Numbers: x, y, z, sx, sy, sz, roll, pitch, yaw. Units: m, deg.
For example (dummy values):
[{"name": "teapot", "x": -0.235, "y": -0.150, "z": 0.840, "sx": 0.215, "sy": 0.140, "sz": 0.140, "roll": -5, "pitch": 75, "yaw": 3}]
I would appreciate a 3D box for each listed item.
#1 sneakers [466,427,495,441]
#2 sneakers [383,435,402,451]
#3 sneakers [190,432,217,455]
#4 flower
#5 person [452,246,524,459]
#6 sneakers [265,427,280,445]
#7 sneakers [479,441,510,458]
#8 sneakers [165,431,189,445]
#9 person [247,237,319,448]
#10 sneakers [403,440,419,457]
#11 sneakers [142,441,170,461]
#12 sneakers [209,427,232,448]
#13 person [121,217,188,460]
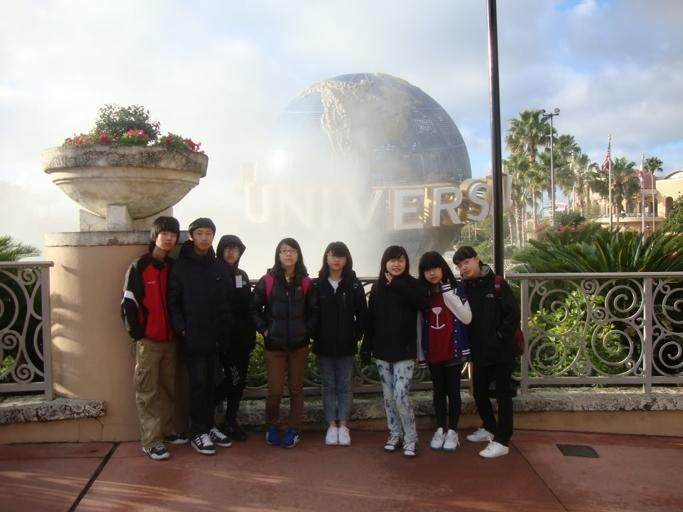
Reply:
[{"name": "sneakers", "x": 1.303, "y": 1.683, "z": 5.755, "sx": 0.227, "sy": 0.115, "sz": 0.111, "roll": 1, "pitch": -1, "yaw": -4}, {"name": "sneakers", "x": 0.464, "y": 1.718, "z": 5.560, "sx": 0.159, "sy": 0.107, "sz": 0.130, "roll": 1, "pitch": 14, "yaw": 3}, {"name": "sneakers", "x": -1.236, "y": 1.681, "z": 5.430, "sx": 0.105, "sy": 0.132, "sz": 0.262, "roll": 5, "pitch": -4, "yaw": -42}, {"name": "flower", "x": -2.224, "y": -1.336, "z": 6.268, "sx": 1.166, "sy": 0.418, "sz": 1.650, "roll": -6, "pitch": 16, "yaw": -24}, {"name": "person", "x": 1.390, "y": 0.859, "z": 5.602, "sx": 0.532, "sy": 1.854, "sz": 0.736, "roll": -5, "pitch": 14, "yaw": -22}, {"name": "sneakers", "x": -0.637, "y": 1.667, "z": 5.615, "sx": 0.121, "sy": 0.146, "sz": 0.112, "roll": 0, "pitch": 14, "yaw": -3}, {"name": "sneakers", "x": 1.358, "y": 1.727, "z": 5.437, "sx": 0.237, "sy": 0.118, "sz": 0.122, "roll": -1, "pitch": -2, "yaw": -4}, {"name": "sneakers", "x": -1.522, "y": 1.687, "z": 5.634, "sx": 0.206, "sy": 0.096, "sz": 0.093, "roll": 1, "pitch": 7, "yaw": -2}, {"name": "person", "x": -0.524, "y": 0.800, "z": 5.631, "sx": 0.554, "sy": 1.841, "sz": 0.599, "roll": -4, "pitch": 14, "yaw": -19}, {"name": "sneakers", "x": 0.612, "y": 1.728, "z": 5.451, "sx": 0.127, "sy": 0.105, "sz": 0.146, "roll": 2, "pitch": 14, "yaw": 7}, {"name": "sneakers", "x": -1.663, "y": 1.726, "z": 5.376, "sx": 0.275, "sy": 0.134, "sz": 0.107, "roll": -1, "pitch": -6, "yaw": 26}, {"name": "sneakers", "x": -1.117, "y": 1.677, "z": 5.623, "sx": 0.253, "sy": 0.114, "sz": 0.105, "roll": 21, "pitch": 12, "yaw": 17}, {"name": "person", "x": -1.668, "y": 0.718, "z": 5.412, "sx": 0.477, "sy": 2.062, "sz": 0.683, "roll": 2, "pitch": 13, "yaw": 6}]
